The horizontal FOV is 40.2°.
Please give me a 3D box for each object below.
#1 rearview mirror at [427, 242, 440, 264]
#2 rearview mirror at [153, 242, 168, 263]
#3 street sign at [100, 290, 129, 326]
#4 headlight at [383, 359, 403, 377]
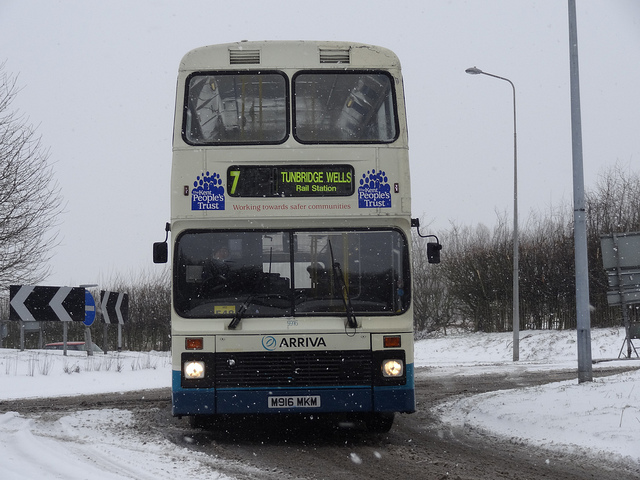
[{"bbox_3d":[2.054,0.207,15.651,0.278,0.528,0.248,-2,7,-5],"label":"rearview mirror"},{"bbox_3d":[-2.702,0.206,14.788,0.222,0.257,0.241,1,-1,-11],"label":"rearview mirror"},{"bbox_3d":[-6.876,2.259,29.130,0.035,1.450,2.057,-3,-4,16],"label":"street sign"},{"bbox_3d":[1.204,2.118,14.414,0.326,0.266,0.087,1,0,-16],"label":"headlight"}]
